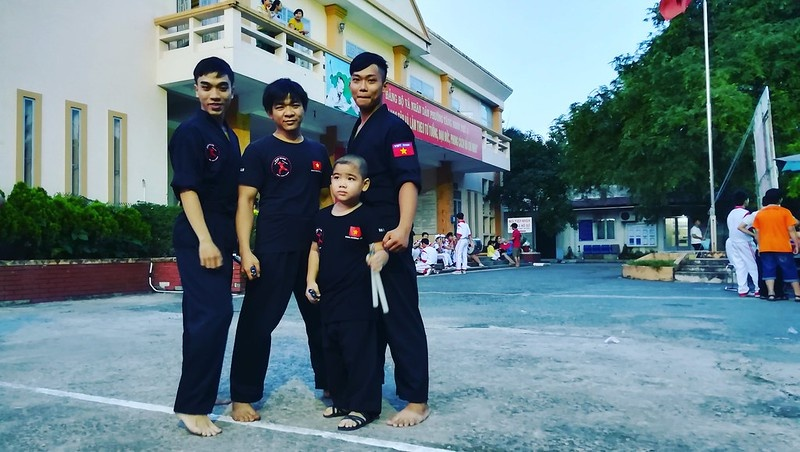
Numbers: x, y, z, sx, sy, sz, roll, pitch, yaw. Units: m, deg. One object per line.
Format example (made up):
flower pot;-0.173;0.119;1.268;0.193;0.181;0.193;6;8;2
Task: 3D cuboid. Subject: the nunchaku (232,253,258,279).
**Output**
nunchaku;-1.658;0.452;5.799;0.245;0.297;0.129;16;30;32

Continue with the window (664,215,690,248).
window;18.543;0.366;35.514;2.115;2.725;0.149;8;11;44

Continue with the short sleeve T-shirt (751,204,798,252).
short sleeve T-shirt;8.053;0.088;11.471;0.705;1.145;1.185;3;-1;-44

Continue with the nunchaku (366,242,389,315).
nunchaku;-0.266;0.564;5.624;0.189;0.812;0.128;-14;-9;-6

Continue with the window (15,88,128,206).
window;-8.658;-2.095;13.856;0.171;3.150;3.768;0;-2;36

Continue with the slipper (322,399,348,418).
slipper;-0.763;1.996;5.816;0.385;0.139;0.132;1;-4;-10

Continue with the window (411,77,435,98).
window;1.079;-6.702;25.714;0.057;0.684;2.862;-5;-4;31

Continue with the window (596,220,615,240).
window;14.915;0.275;38.442;1.410;1.470;0.134;8;2;39
